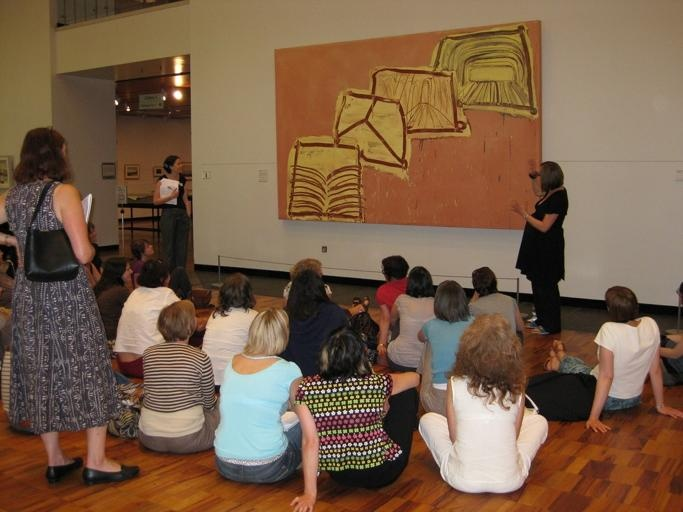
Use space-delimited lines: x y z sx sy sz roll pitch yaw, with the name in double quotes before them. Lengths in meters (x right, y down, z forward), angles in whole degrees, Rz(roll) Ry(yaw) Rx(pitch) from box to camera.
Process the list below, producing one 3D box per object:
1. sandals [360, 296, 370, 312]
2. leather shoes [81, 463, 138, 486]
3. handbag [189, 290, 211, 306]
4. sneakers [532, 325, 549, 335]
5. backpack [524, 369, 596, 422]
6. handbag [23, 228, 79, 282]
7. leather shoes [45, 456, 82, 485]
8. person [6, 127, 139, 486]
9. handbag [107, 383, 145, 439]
"sandals" 0.294 0.599 6.883 0.075 0.067 0.241 -2 24 1
"leather shoes" -1.490 1.395 3.611 0.328 0.147 0.138 -1 1 -24
"handbag" -1.914 0.574 7.618 0.201 0.177 0.187 0 3 -2
"sneakers" 2.431 0.914 6.856 0.166 0.083 0.069 9 12 27
"backpack" 1.783 1.135 4.549 0.484 0.193 0.543 4 34 28
"handbag" -1.756 -0.006 3.365 0.239 0.326 0.120 -3 -3 -15
"leather shoes" -1.813 1.386 3.688 0.078 0.117 0.265 3 14 13
"person" -1.735 0.347 3.495 0.751 2.242 0.384 2 8 11
"handbag" -1.639 1.257 4.346 0.293 0.511 0.163 2 -11 7
